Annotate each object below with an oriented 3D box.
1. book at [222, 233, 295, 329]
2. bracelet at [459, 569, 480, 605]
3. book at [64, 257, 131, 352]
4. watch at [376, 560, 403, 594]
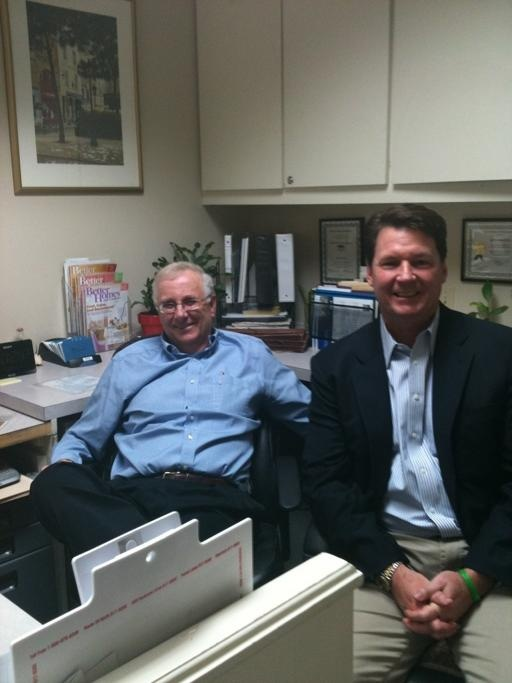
[{"bbox_3d":[0.061,-0.299,2.778,0.410,0.566,0.422,0,8,5],"label":"book"},{"bbox_3d":[0.419,0.475,1.093,0.015,0.055,0.057,-20,-2,12],"label":"bracelet"},{"bbox_3d":[-0.691,-0.152,2.401,0.181,0.448,0.342,10,17,40],"label":"book"},{"bbox_3d":[0.277,0.480,1.156,0.035,0.048,0.054,38,-9,10],"label":"watch"}]
